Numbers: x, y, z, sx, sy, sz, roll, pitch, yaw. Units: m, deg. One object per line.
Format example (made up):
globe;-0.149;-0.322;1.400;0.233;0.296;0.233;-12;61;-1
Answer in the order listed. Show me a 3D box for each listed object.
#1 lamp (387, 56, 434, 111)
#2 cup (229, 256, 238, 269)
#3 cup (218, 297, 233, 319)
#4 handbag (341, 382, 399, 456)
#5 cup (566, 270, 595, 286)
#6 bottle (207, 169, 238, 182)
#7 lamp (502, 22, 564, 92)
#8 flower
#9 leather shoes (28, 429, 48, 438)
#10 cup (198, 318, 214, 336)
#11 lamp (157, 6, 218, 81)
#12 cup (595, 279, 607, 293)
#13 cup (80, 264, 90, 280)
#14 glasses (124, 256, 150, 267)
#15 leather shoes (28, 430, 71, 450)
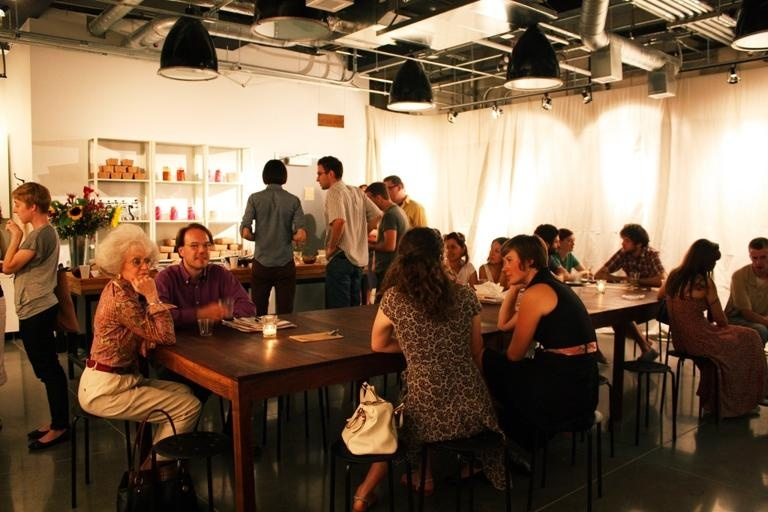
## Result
lamp;0.245;-1.768;6.221;0.486;0.517;0.487;-2;2;-14
cup;-1.797;0.083;6.982;0.121;0.180;0.142;-1;0;17
cup;-1.216;0.401;4.507;0.127;0.141;0.127;-2;2;0
handbag;-0.075;1.030;3.739;0.390;0.426;0.335;3;-4;-8
cup;2.156;0.264;6.479;0.338;0.127;0.251;-1;1;-30
bottle;-2.566;-1.235;9.231;0.369;0.154;0.232;1;0;-41
lamp;1.439;-1.842;5.695;0.604;0.684;0.609;2;2;15
flower;-3.251;-0.403;6.629;0.807;0.971;0.917;8;8;42
leather shoes;-2.987;1.526;5.060;0.081;0.052;0.179;4;2;32
cup;-1.283;0.514;4.178;0.098;0.094;0.120;1;-3;2
lamp;-1.732;-1.853;5.382;0.576;0.620;0.568;6;9;41
cup;2.190;0.309;5.962;0.141;0.160;0.141;-1;3;0
cup;-3.125;0.171;6.082;0.122;0.137;0.122;1;-2;0
glasses;-1.703;0.036;4.045;0.175;0.071;0.064;-7;9;-40
leather shoes;-2.837;1.547;4.946;0.234;0.087;0.169;3;2;-41
